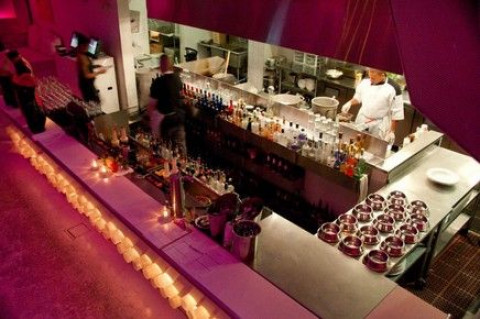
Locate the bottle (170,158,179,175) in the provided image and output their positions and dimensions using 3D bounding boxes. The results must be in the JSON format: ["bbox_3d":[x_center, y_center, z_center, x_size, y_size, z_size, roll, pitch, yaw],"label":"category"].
[{"bbox_3d":[-0.716,0.080,3.514,0.077,0.190,0.073,2,47,-2],"label":"bottle"}]

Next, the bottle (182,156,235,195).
[{"bbox_3d":[-0.395,0.210,4.127,0.179,0.251,0.663,-27,45,-31],"label":"bottle"}]

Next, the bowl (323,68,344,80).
[{"bbox_3d":[2.067,-1.896,7.127,0.372,0.122,0.445,18,38,20],"label":"bowl"}]

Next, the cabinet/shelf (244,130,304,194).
[{"bbox_3d":[0.512,0.029,4.630,0.257,0.478,0.789,-27,45,-32],"label":"cabinet/shelf"}]

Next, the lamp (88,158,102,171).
[{"bbox_3d":[-1.466,0.035,3.290,0.128,0.098,0.135,5,33,-2],"label":"lamp"}]

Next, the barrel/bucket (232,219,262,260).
[{"bbox_3d":[0.041,0.581,2.332,0.200,0.222,0.214,2,35,-1],"label":"barrel/bucket"}]

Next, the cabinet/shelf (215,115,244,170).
[{"bbox_3d":[-0.160,-0.296,5.184,0.346,0.504,0.632,-30,53,-33],"label":"cabinet/shelf"}]

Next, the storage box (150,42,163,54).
[{"bbox_3d":[-2.443,-3.217,9.399,0.367,0.253,0.485,-6,36,-12],"label":"storage box"}]

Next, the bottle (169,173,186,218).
[{"bbox_3d":[-0.516,0.290,2.632,0.113,0.368,0.170,-6,36,-12],"label":"bottle"}]

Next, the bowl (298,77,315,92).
[{"bbox_3d":[1.520,-1.704,7.316,0.298,0.235,0.340,13,23,28],"label":"bowl"}]

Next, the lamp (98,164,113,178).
[{"bbox_3d":[-1.333,0.132,3.182,0.119,0.120,0.122,9,27,16],"label":"lamp"}]

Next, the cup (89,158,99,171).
[{"bbox_3d":[-1.472,0.055,3.298,0.101,0.116,0.108,5,30,-3],"label":"cup"}]

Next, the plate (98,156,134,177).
[{"bbox_3d":[-1.277,0.105,3.261,0.361,0.124,0.192,32,47,30],"label":"plate"}]

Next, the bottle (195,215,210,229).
[{"bbox_3d":[-0.301,0.506,2.610,0.106,0.025,0.107,2,43,-2],"label":"bottle"}]

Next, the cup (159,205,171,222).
[{"bbox_3d":[-0.613,0.451,2.656,0.103,0.113,0.094,2,27,-1],"label":"cup"}]

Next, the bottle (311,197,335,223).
[{"bbox_3d":[1.160,0.709,4.483,0.119,0.238,0.233,-13,34,-23],"label":"bottle"}]

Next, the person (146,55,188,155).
[{"bbox_3d":[-1.107,-0.831,4.739,0.517,1.367,0.259,5,35,4],"label":"person"}]

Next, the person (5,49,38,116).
[{"bbox_3d":[-2.429,-0.846,3.622,0.236,0.736,0.232,-20,41,-29],"label":"person"}]

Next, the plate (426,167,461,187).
[{"bbox_3d":[2.388,0.211,3.826,0.354,0.070,0.317,-22,42,-30],"label":"plate"}]

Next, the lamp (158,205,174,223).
[{"bbox_3d":[-0.607,0.453,2.680,0.112,0.119,0.119,-18,35,-34],"label":"lamp"}]

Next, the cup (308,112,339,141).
[{"bbox_3d":[1.124,-0.435,4.402,0.120,0.248,0.393,-19,33,-31],"label":"cup"}]

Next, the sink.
[{"bbox_3d":[-0.458,-3.045,9.282,1.502,0.538,0.665,24,40,27],"label":"sink"}]

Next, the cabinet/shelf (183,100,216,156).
[{"bbox_3d":[-0.680,-0.551,5.552,0.405,0.544,0.735,-23,42,-36],"label":"cabinet/shelf"}]
